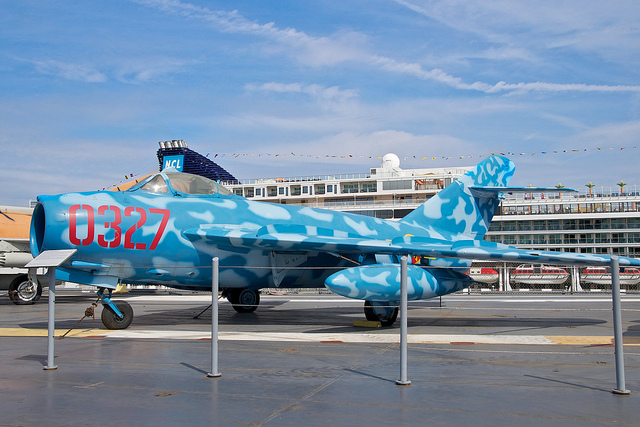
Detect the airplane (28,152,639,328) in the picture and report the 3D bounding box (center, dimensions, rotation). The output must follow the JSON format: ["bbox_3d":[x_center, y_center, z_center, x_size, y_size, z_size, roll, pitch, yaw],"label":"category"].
[{"bbox_3d":[-0.640,0.972,24.542,13.000,2.584,13.395,3,-2,-27],"label":"airplane"}]
